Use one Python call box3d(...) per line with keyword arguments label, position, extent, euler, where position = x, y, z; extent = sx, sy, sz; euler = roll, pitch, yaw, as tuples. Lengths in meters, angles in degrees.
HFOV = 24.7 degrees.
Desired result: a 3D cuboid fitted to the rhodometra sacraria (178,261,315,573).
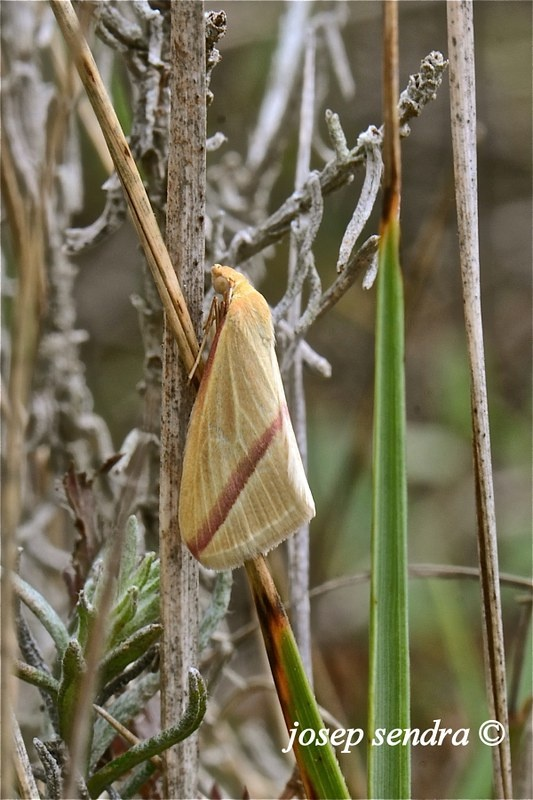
box3d(label="rhodometra sacraria", position=(-0.020, 0.009, 0.623), extent=(0.079, 0.136, 0.044), euler=(-5, -2, -33))
